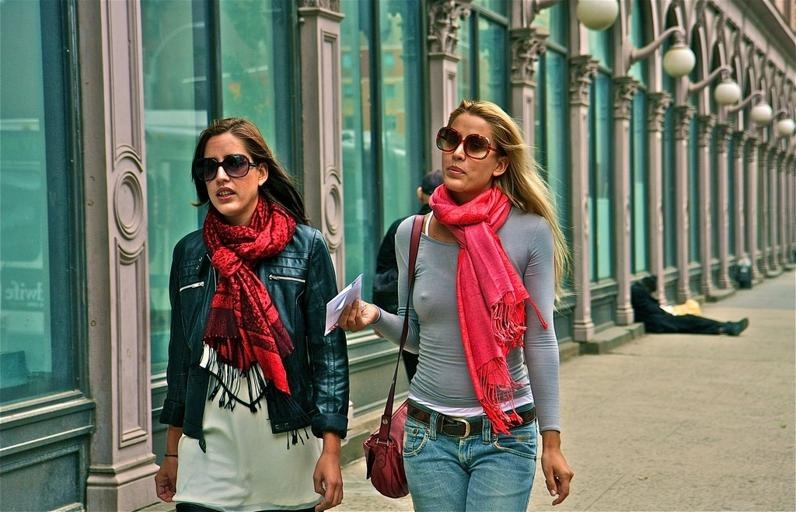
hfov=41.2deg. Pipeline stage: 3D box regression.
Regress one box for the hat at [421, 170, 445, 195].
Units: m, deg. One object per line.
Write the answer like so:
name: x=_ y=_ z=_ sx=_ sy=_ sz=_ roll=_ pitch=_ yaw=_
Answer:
hat: x=0.301 y=-0.698 z=9.731 sx=0.190 sy=0.168 sz=0.274 roll=1 pitch=45 yaw=1

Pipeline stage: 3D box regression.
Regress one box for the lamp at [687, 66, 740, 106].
lamp: x=3.174 y=-1.730 z=10.686 sx=0.223 sy=0.368 sz=0.567 roll=-4 pitch=12 yaw=-45

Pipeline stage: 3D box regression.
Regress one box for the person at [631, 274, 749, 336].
person: x=2.807 y=0.495 z=10.251 sx=1.071 sy=0.569 sz=0.366 roll=1 pitch=-1 yaw=30

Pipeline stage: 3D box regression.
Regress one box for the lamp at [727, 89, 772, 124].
lamp: x=3.249 y=-1.384 z=9.793 sx=0.160 sy=0.302 sz=0.455 roll=-8 pitch=18 yaw=-36
